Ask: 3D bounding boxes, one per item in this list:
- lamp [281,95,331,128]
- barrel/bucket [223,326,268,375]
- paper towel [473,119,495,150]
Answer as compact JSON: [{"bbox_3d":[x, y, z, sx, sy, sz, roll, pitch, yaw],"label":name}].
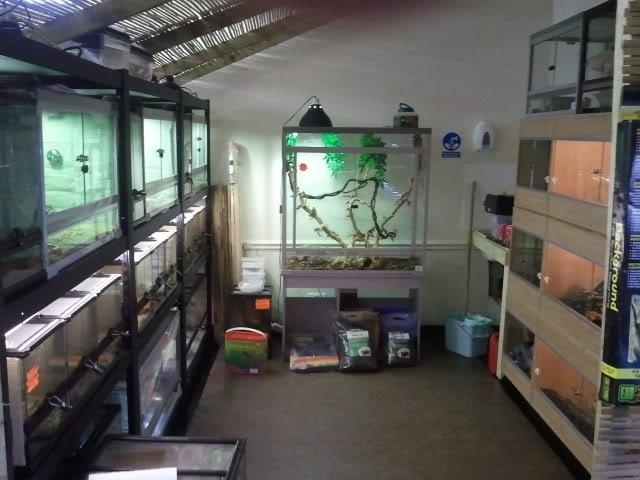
[{"bbox_3d":[-0.206,-1.306,5.213,0.586,0.392,0.433,-4,9,-9],"label":"lamp"},{"bbox_3d":[-0.769,1.154,5.063,0.487,0.445,0.156,0,0,-1],"label":"barrel/bucket"},{"bbox_3d":[1.890,-1.202,5.733,0.220,0.336,0.131,-3,14,-15],"label":"paper towel"}]
